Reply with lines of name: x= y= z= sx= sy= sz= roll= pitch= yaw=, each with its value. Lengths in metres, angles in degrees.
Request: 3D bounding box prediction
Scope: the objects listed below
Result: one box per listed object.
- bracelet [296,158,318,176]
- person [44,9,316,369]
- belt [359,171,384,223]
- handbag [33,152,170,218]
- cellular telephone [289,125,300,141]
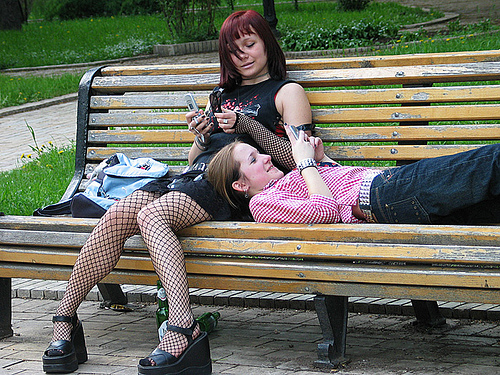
bracelet: x=0.306 y=-0.107 z=3.331 sx=0.093 sy=0.050 sz=0.086 roll=-18 pitch=3 yaw=-1
person: x=-0.296 y=-0.085 z=3.510 sx=0.989 sy=1.917 sz=1.568 roll=0 pitch=9 yaw=26
belt: x=0.649 y=0.051 z=3.279 sx=0.123 sy=0.271 sz=0.187 roll=3 pitch=10 yaw=40
handbag: x=-0.903 y=0.001 z=3.888 sx=0.601 sy=0.262 sz=0.789 roll=-5 pitch=11 yaw=42
cellular telephone: x=0.250 y=-0.300 z=3.463 sx=0.049 sy=0.082 sz=0.126 roll=-4 pitch=7 yaw=-4
